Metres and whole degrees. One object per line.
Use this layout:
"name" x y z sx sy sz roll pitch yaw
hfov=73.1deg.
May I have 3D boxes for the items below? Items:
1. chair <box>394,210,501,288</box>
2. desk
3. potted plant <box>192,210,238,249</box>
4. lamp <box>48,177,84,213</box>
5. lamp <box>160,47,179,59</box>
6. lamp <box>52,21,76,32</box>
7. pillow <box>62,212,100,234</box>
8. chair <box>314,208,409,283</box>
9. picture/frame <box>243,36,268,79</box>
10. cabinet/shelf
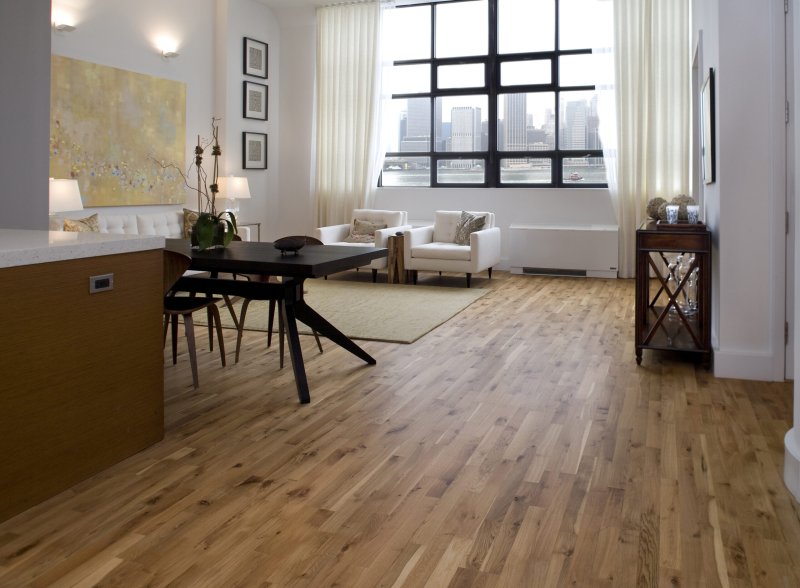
"chair" 0.707 -0.671 7.651 1.241 0.953 0.991 3 11 17
"desk" -0.873 0.106 3.821 1.157 0.935 0.896 5 12 28
"potted plant" -1.435 -0.487 4.116 0.344 0.270 0.371 4 9 26
"lamp" -3.194 -0.930 5.135 0.248 0.311 0.259 -7 12 -35
"lamp" -3.105 -3.273 7.347 0.131 0.119 0.287 3 11 17
"lamp" -3.763 -2.983 6.028 0.134 0.096 0.183 7 13 34
"pillow" -3.042 -0.667 5.119 0.220 0.137 0.578 -4 12 -20
"chair" -0.519 -0.842 8.069 1.018 1.146 1.130 3 9 20
"picture/frame" -2.348 -3.807 8.681 0.069 0.718 0.773 2 5 20
"cabinet/shelf" 2.243 -0.135 4.432 0.534 1.010 1.119 0 12 28
